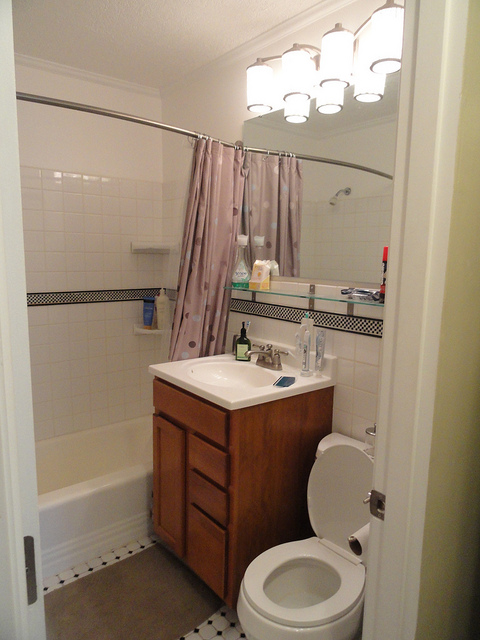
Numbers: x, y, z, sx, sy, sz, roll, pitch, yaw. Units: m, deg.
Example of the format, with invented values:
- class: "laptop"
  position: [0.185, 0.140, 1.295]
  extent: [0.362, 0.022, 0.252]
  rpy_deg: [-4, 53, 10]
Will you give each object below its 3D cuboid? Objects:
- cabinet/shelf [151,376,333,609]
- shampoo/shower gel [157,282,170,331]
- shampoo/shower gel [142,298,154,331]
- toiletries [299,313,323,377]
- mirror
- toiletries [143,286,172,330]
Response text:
- class: "cabinet/shelf"
  position: [0.034, 0.498, 1.988]
  extent: [0.488, 1.030, 0.692]
  rpy_deg: [-6, 12, -37]
- class: "shampoo/shower gel"
  position: [-0.493, -0.073, 3.069]
  extent: [0.083, 0.254, 0.198]
  rpy_deg: [0, 6, -6]
- class: "shampoo/shower gel"
  position: [-0.566, -0.044, 3.006]
  extent: [0.071, 0.191, 0.045]
  rpy_deg: [1, 6, -2]
- class: "toiletries"
  position: [0.288, 0.102, 1.923]
  extent: [0.097, 0.222, 0.133]
  rpy_deg: [2, 6, 11]
- class: "mirror"
  position: [0.313, -0.530, 1.879]
  extent: [0.043, 1.078, 0.885]
  rpy_deg: [-6, 10, -35]
- class: "toiletries"
  position: [-0.522, -0.069, 3.038]
  extent: [0.169, 0.308, 0.097]
  rpy_deg: [9, 20, 24]
